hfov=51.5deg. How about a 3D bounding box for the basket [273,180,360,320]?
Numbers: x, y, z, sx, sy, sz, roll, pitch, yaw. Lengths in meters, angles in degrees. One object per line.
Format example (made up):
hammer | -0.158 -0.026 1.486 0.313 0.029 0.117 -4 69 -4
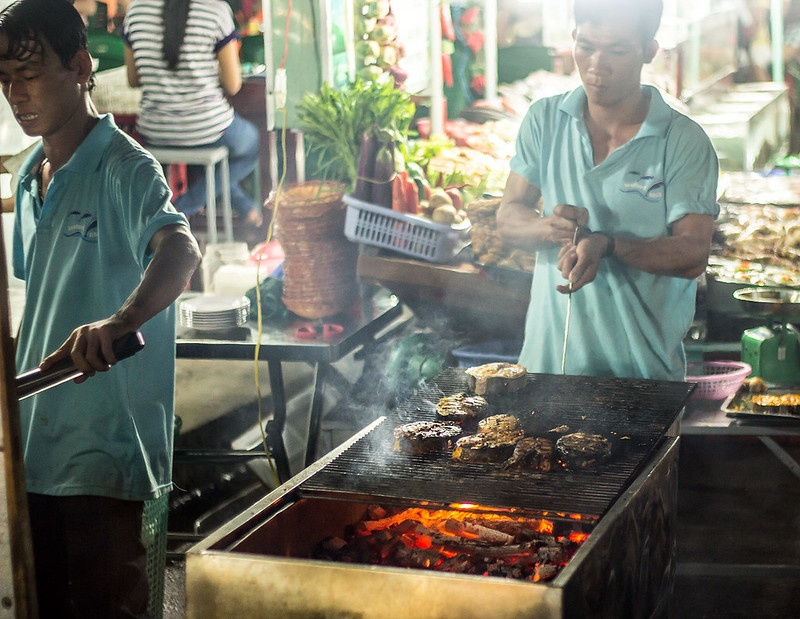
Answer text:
basket | -0.406 -0.287 4.262 0.454 0.637 0.445 -7 12 -13

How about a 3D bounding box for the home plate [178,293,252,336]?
home plate | -0.889 0.011 4.178 0.231 0.099 0.242 6 11 31

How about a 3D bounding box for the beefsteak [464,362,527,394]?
beefsteak | 0.353 0.241 3.008 0.141 0.054 0.125 -9 13 -8

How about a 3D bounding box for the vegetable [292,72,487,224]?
vegetable | -0.087 -0.772 4.399 0.768 0.883 0.568 -7 19 19

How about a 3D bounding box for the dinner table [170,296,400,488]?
dinner table | -0.569 0.329 4.086 0.858 0.885 0.851 6 14 14

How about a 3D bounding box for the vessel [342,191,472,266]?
vessel | 0.005 -0.377 4.028 0.421 0.149 0.365 17 8 6
